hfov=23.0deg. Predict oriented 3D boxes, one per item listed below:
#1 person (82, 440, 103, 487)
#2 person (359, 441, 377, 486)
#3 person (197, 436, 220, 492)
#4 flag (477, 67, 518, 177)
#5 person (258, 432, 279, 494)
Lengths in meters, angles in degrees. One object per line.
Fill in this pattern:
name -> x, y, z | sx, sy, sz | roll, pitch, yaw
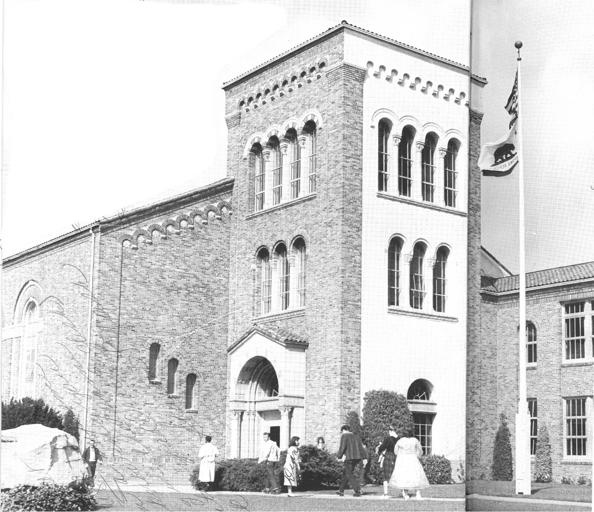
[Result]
person -> -3.942, 3.910, 28.158 | 0.374, 1.014, 0.360 | -1, 15, -8
person -> 1.402, 4.029, 28.567 | 0.343, 1.174, 0.353 | -6, -43, 12
person -> -1.699, 3.889, 28.118 | 0.356, 1.086, 0.770 | 3, -17, -4
flag -> 3.910, -2.480, 27.527 | 0.478, 1.847, 1.103 | 11, -19, -28
person -> -0.562, 3.797, 28.098 | 0.340, 1.021, 0.314 | 3, 18, 5
